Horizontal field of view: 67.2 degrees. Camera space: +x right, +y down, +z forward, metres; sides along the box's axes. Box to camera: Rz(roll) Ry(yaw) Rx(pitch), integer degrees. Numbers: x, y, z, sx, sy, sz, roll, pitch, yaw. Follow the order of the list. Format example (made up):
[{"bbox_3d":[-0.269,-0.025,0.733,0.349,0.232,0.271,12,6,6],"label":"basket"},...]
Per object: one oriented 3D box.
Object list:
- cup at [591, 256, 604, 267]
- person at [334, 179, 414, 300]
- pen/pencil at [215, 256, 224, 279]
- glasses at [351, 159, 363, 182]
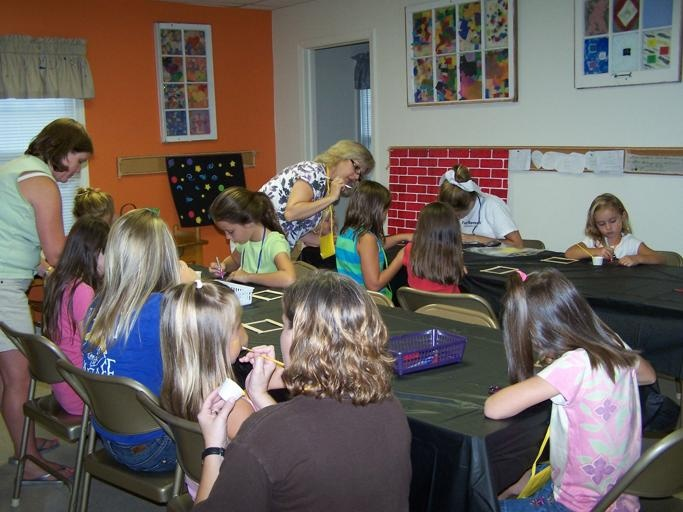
[{"bbox_3d":[1.580,0.025,3.194,0.046,0.059,0.079,0,-2,-1],"label":"cup"},{"bbox_3d":[0.220,0.076,3.263,0.501,1.056,0.484,2,12,-5],"label":"person"},{"bbox_3d":[-0.815,0.074,3.440,0.020,0.163,0.021,-4,-2,-11],"label":"pen/pencil"},{"bbox_3d":[0.108,-0.577,3.479,0.027,0.099,0.088,7,-8,-35],"label":"glasses"}]
